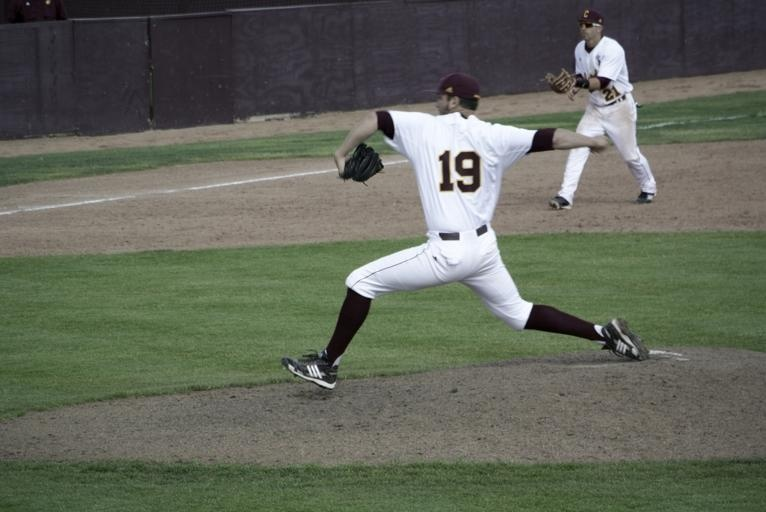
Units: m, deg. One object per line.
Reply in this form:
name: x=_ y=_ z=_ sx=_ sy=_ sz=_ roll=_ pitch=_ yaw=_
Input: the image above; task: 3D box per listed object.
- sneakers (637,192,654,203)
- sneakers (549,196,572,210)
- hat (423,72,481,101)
sneakers: x=4.262 y=-0.947 z=23.710 sx=0.345 sy=0.137 sz=0.125 roll=4 pitch=13 yaw=0
sneakers: x=2.853 y=-0.856 z=23.488 sx=0.441 sy=0.221 sz=0.155 roll=11 pitch=0 yaw=6
hat: x=0.920 y=-2.082 z=17.882 sx=0.494 sy=0.233 sz=0.336 roll=6 pitch=13 yaw=19
